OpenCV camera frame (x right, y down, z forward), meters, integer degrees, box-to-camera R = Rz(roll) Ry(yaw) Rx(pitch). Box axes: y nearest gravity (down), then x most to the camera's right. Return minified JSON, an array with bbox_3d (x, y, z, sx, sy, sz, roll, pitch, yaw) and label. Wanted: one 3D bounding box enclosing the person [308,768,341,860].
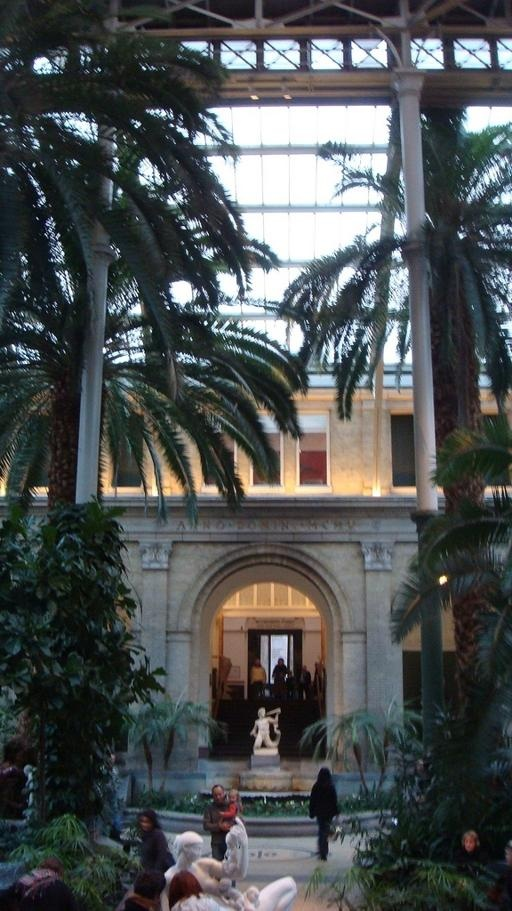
[{"bbox_3d":[0.899,4.722,10.851,0.391,1.364,0.260,0,15,5],"label":"person"}]
